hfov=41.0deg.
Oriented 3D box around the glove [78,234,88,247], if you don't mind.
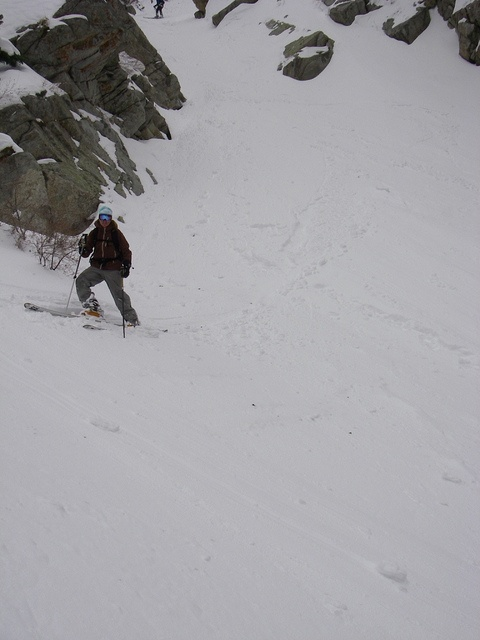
[{"bbox_3d":[-2.439,-1.258,10.021,0.231,0.057,0.190,5,65,-1],"label":"glove"}]
